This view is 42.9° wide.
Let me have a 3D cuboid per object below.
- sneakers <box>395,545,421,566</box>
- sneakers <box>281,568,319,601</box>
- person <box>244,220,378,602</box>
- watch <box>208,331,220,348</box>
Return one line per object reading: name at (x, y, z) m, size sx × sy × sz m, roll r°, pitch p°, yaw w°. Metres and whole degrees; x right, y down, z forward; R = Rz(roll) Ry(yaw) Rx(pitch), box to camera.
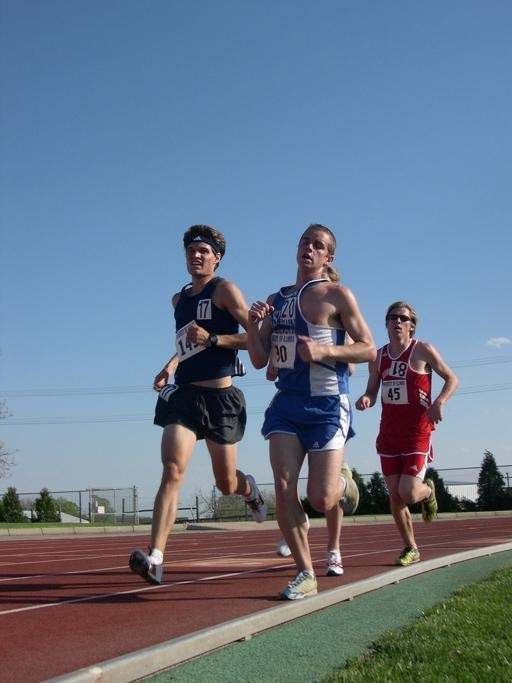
sneakers at (1.191, 1.686, 5.094) m, size 0.091 × 0.106 × 0.258 m, roll -8°, pitch -15°, yaw 27°
sneakers at (0.221, 1.222, 3.247) m, size 0.085 × 0.105 × 0.237 m, roll -11°, pitch -17°, yaw 36°
person at (0.252, 0.320, 3.621) m, size 0.705 × 2.038 × 0.708 m, roll 4°, pitch -9°, yaw -43°
watch at (-0.265, -0.003, 4.149) m, size 0.059 × 0.079 × 0.077 m, roll 1°, pitch -19°, yaw -10°
